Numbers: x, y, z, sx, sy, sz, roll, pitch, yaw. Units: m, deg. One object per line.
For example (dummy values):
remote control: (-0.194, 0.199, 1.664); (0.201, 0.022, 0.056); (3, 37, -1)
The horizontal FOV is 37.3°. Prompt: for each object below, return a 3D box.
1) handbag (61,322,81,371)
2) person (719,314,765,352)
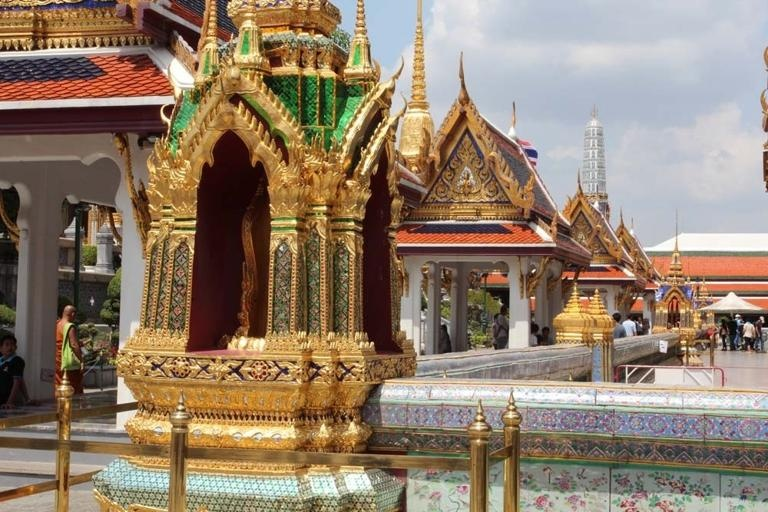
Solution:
handbag: (-3.727, 1.075, 13.527); (0.204, 0.580, 0.438); (-1, -5, -2)
person: (13.299, 2.921, 42.679); (1.143, 1.318, 0.437); (3, 6, 24)
